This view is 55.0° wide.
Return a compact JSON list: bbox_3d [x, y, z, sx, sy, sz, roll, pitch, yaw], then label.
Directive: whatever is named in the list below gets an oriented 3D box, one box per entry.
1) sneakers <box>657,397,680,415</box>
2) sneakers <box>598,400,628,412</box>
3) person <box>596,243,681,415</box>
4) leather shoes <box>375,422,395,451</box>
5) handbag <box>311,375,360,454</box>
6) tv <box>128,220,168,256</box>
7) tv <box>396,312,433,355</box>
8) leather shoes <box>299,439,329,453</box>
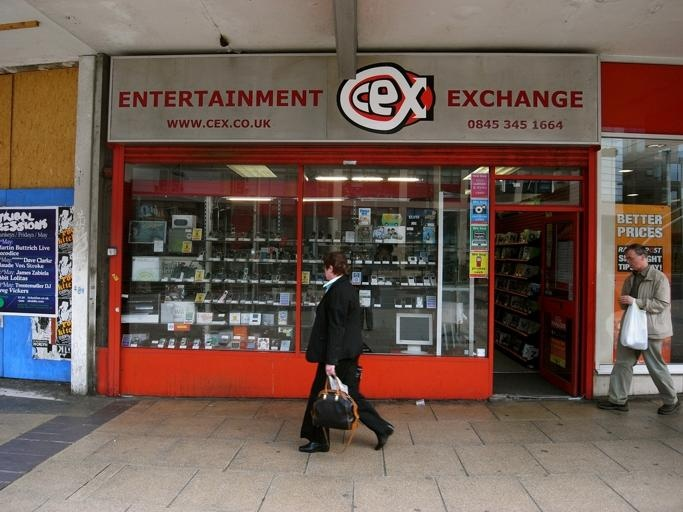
[{"bbox_3d":[4.191,1.916,8.398,0.333,0.144,0.129,-5,-3,-27],"label":"sneakers"},{"bbox_3d":[3.546,1.949,8.552,0.350,0.167,0.157,5,3,14],"label":"sneakers"},{"bbox_3d":[3.956,0.959,8.447,0.918,2.117,0.725,6,15,23],"label":"person"},{"bbox_3d":[0.490,2.068,7.593,0.166,0.398,0.129,18,7,-8],"label":"leather shoes"},{"bbox_3d":[-0.111,1.576,7.206,0.521,0.731,0.385,-3,6,21],"label":"handbag"},{"bbox_3d":[-2.741,-0.323,9.351,0.671,0.488,0.392,1,5,-6],"label":"tv"},{"bbox_3d":[1.022,1.096,9.075,0.500,0.527,0.177,1,-19,-1],"label":"tv"},{"bbox_3d":[-0.307,2.170,7.538,0.329,0.147,0.134,6,-4,0],"label":"leather shoes"}]
